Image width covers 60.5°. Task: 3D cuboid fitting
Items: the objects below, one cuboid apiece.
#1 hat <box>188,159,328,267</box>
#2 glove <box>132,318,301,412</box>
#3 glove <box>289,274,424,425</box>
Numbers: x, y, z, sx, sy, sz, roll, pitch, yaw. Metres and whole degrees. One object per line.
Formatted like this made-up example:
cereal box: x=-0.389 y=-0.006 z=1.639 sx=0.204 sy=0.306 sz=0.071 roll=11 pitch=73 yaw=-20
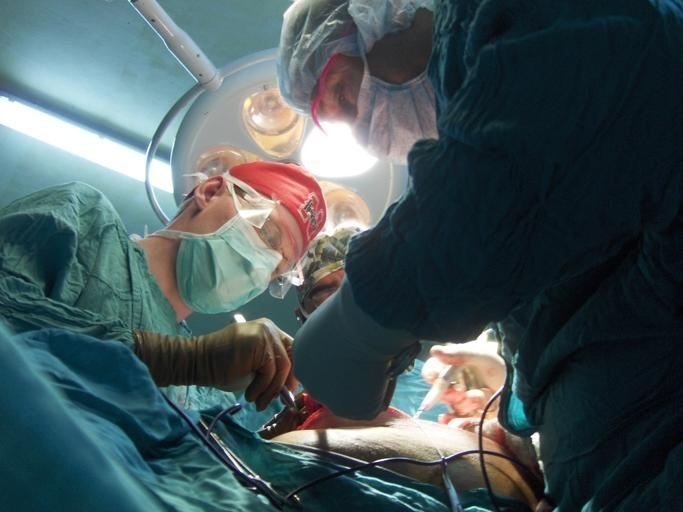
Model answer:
hat: x=-0.217 y=-0.173 z=2.320 sx=0.327 sy=0.408 sz=0.120 roll=-8 pitch=-7 yaw=-30
glove: x=-0.282 y=0.315 z=1.744 sx=0.622 sy=0.211 sz=0.189 roll=18 pitch=-2 yaw=-18
glove: x=0.037 y=0.147 z=1.150 sx=0.219 sy=0.289 sz=0.156 roll=49 pitch=-28 yaw=-18
